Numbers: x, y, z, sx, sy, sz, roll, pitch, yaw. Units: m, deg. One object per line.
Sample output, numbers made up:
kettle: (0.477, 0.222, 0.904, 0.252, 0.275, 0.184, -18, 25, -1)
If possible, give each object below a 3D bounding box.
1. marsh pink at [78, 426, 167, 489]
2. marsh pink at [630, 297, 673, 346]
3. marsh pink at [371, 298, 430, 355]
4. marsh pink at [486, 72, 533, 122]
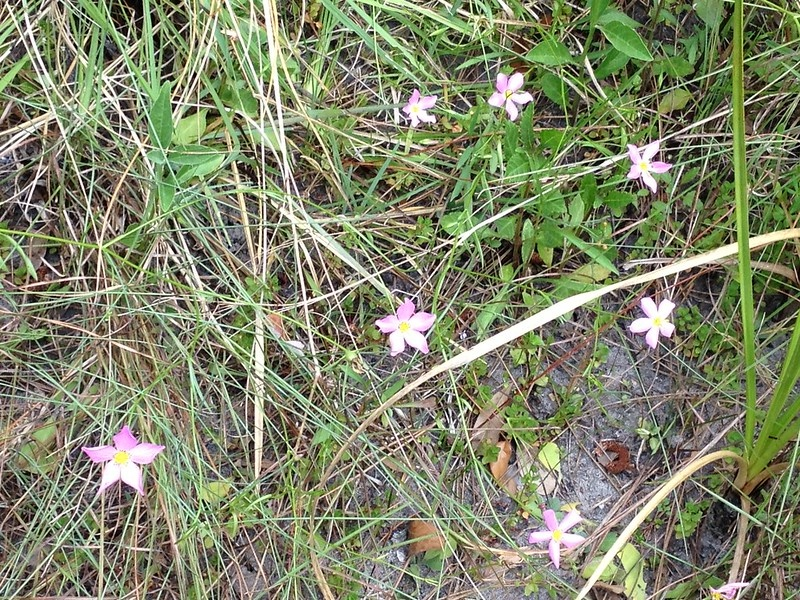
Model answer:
marsh pink: (-0.694, 0.382, 1.561, 0.182, 0.220, 0.081, -7, 102, -6)
marsh pink: (0.727, 0.063, 1.797, 0.100, 0.104, 0.029, 39, 125, 39)
marsh pink: (0.015, 0.077, 1.697, 0.133, 0.093, 0.138, 16, 72, 20)
marsh pink: (0.327, -0.603, 1.896, 0.144, 0.067, 0.197, 0, 92, 3)
